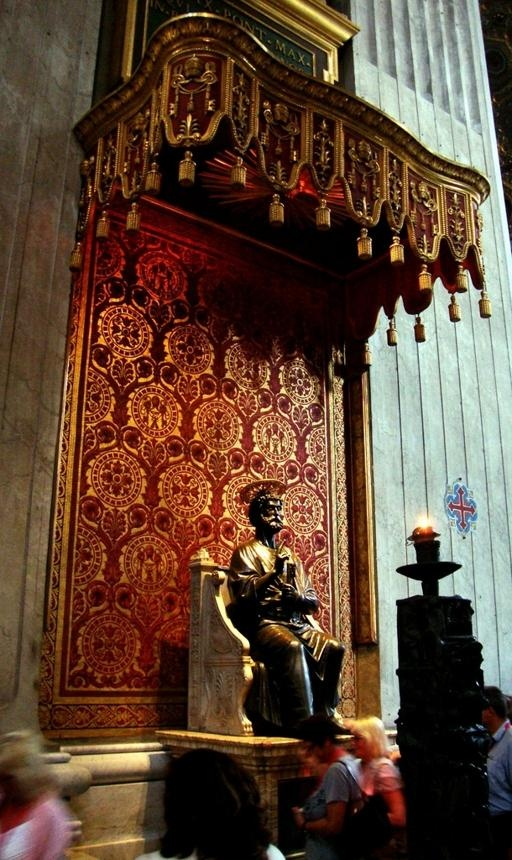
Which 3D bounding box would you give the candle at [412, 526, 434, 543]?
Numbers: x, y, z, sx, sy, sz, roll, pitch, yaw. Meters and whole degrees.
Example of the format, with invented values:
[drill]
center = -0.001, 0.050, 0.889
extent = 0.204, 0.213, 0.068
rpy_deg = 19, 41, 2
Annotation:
[candle]
center = 0.667, 0.427, 3.411
extent = 0.074, 0.051, 0.076
rpy_deg = -5, -12, 28
